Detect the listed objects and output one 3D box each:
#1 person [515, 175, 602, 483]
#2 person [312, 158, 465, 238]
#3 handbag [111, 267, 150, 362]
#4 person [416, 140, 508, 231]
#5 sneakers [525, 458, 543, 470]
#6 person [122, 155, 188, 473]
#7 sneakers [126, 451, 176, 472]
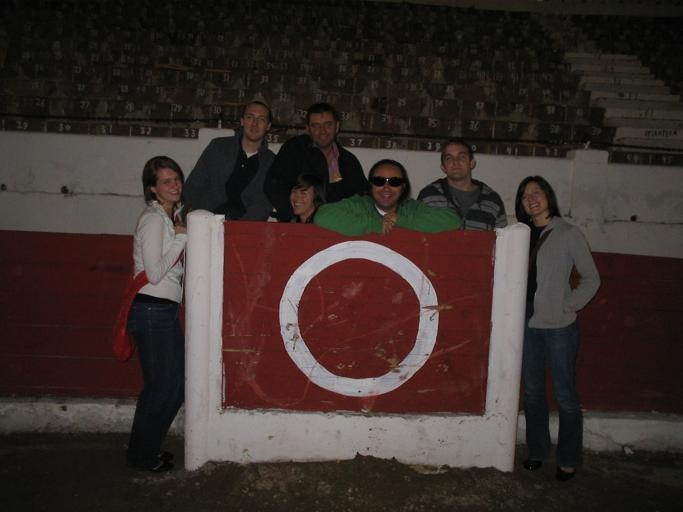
[{"bbox_3d":[1.459,0.480,4.581,0.573,2.043,0.388,4,6,14],"label":"person"},{"bbox_3d":[0.314,-0.392,4.449,0.971,0.514,0.305,2,6,-5],"label":"person"},{"bbox_3d":[-1.394,0.412,4.436,0.129,0.542,0.380,5,15,6],"label":"handbag"},{"bbox_3d":[0.919,-0.499,4.942,0.726,0.718,0.395,-1,2,0],"label":"person"},{"bbox_3d":[1.330,1.442,4.561,0.132,0.054,0.053,-1,10,-8],"label":"sneakers"},{"bbox_3d":[-1.236,0.382,4.441,0.380,2.095,0.363,1,7,-18],"label":"person"},{"bbox_3d":[-1.260,1.398,4.437,0.204,0.063,0.151,3,5,-14],"label":"sneakers"}]
